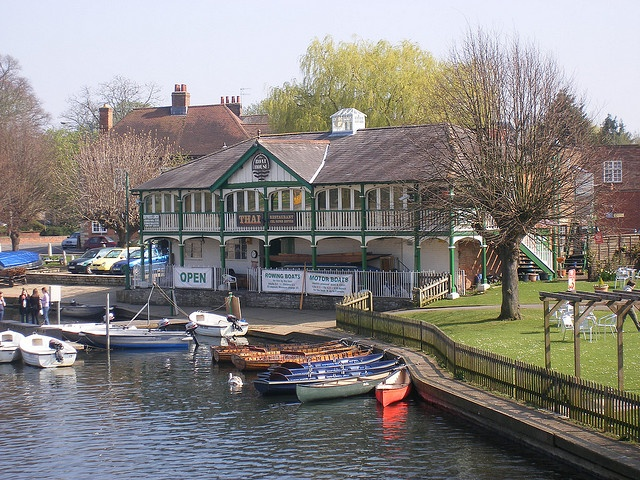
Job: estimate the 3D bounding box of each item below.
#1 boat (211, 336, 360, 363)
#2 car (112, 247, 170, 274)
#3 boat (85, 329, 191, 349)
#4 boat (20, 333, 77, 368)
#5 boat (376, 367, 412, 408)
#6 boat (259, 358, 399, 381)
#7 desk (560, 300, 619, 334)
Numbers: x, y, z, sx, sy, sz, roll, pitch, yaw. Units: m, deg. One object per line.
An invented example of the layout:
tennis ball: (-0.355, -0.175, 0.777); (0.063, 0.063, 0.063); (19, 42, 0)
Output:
boat: (-1.494, 5.488, 60.306); (4.435, 0.619, 1.035); (-3, -2, -3)
car: (-12.350, 1.494, 83.369); (1.853, 1.677, 4.490); (-1, -1, 25)
boat: (-9.667, 5.425, 65.275); (5.333, 1.100, 1.956); (2, -6, -1)
boat: (-13.854, 5.926, 62.947); (2.192, 1.767, 2.429); (1, 4, 20)
boat: (3.363, 6.695, 55.076); (1.629, 1.681, 1.023); (0, -2, -41)
boat: (0.210, 6.228, 56.642); (4.775, 0.928, 5.538); (-5, -4, 27)
desk: (12.842, 3.968, 58.811); (2.127, 1.793, 2.416); (-3, 1, 42)
